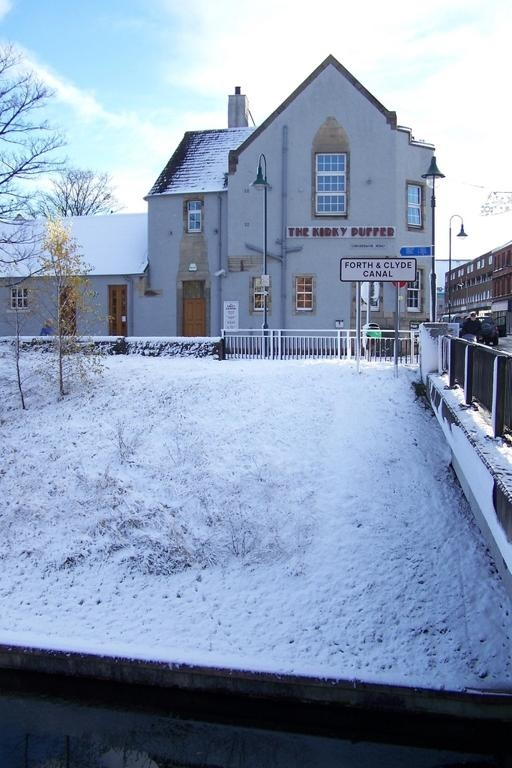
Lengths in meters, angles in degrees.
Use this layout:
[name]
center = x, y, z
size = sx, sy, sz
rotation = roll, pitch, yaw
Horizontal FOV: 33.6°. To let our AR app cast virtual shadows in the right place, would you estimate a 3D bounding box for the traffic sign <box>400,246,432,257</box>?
[traffic sign]
center = 3.666, -3.040, 19.399
size = 0.544, 0.217, 2.982
rotation = 2, 9, 13
